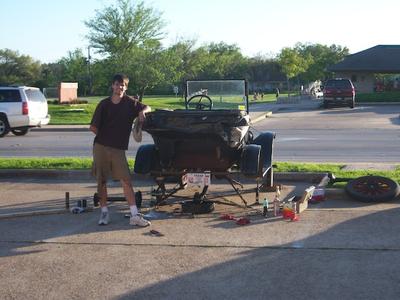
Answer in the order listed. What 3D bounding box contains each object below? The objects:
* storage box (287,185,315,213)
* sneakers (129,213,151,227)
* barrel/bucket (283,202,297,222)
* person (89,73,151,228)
[{"bbox_3d":[1.786,0.863,9.806,0.332,0.362,0.573,-11,3,33],"label":"storage box"},{"bbox_3d":[-0.969,1.112,9.011,0.406,0.162,0.141,2,7,13],"label":"sneakers"},{"bbox_3d":[1.441,0.994,9.155,0.287,0.254,0.232,-2,0,14],"label":"barrel/bucket"},{"bbox_3d":[-1.290,-0.009,9.138,0.911,2.379,0.987,-3,13,-5],"label":"person"}]
